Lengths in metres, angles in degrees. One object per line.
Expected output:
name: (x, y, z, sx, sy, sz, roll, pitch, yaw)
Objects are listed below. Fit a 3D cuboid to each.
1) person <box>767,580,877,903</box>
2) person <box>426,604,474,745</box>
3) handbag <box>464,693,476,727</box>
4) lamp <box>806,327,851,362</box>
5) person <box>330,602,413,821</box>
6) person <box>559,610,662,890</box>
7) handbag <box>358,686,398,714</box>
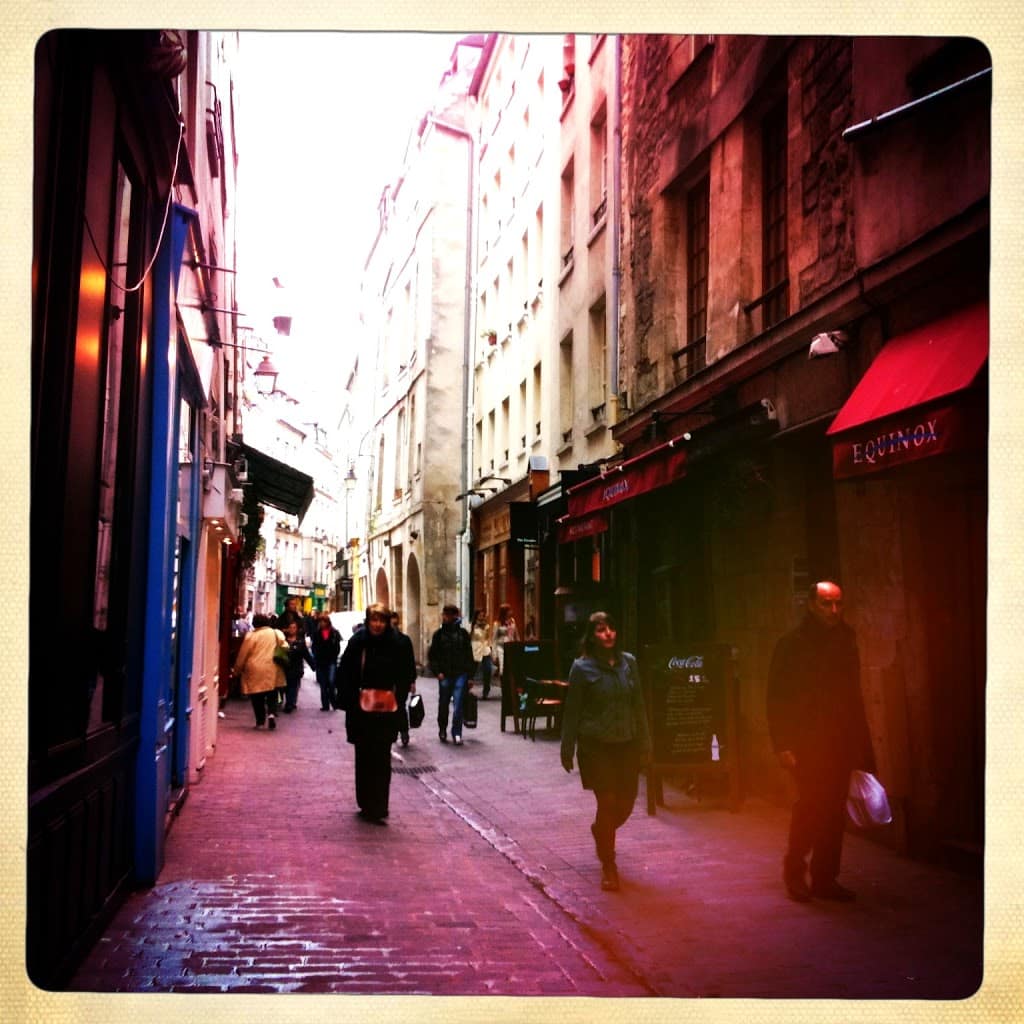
person: (2.018, 1.513, 5.975, 0.647, 2.041, 0.363, -3, -9, 27)
person: (-0.977, 2.594, 14.398, 0.672, 2.127, 1.575, 1, -9, -4)
handbag: (-0.680, 3.127, 14.291, 0.196, 0.811, 0.438, -1, -3, 0)
lamp: (2.763, -1.487, 7.946, 0.363, 0.352, 0.317, 11, -13, -44)
person: (-1.387, 1.986, 8.984, 0.696, 2.034, 0.476, 2, -8, -11)
person: (0.683, 1.683, 6.530, 0.703, 1.900, 0.445, 2, -8, -9)
handbag: (-1.346, 1.881, 9.037, 0.368, 0.245, 0.134, 4, -9, -16)
